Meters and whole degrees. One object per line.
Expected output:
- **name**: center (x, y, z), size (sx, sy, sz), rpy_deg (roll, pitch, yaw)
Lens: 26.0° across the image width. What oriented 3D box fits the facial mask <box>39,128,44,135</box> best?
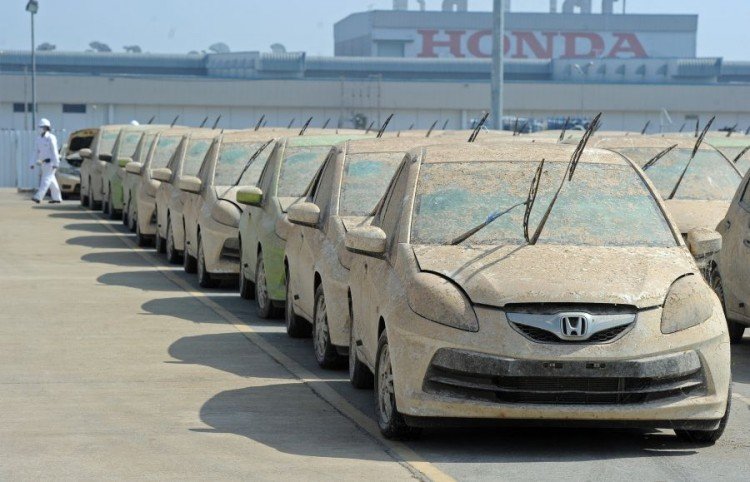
- **facial mask**: center (-8.312, -2.687, 40.430), size (0.124, 0.143, 0.214), rpy_deg (1, 11, -12)
